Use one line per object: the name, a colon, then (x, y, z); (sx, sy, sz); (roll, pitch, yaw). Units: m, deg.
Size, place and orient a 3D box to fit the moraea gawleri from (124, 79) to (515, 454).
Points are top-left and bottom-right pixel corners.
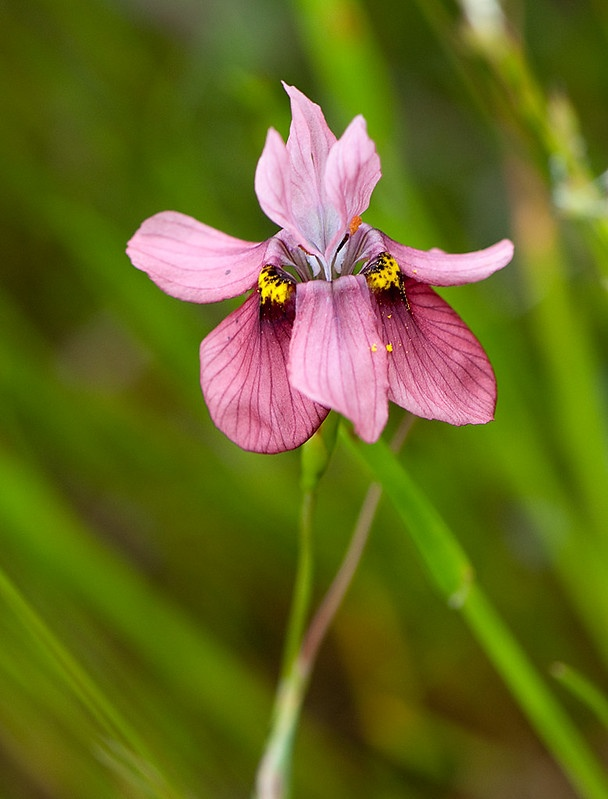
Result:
moraea gawleri: (0.030, -0.082, 0.625); (0.260, 0.281, 0.223); (28, -46, -34)
